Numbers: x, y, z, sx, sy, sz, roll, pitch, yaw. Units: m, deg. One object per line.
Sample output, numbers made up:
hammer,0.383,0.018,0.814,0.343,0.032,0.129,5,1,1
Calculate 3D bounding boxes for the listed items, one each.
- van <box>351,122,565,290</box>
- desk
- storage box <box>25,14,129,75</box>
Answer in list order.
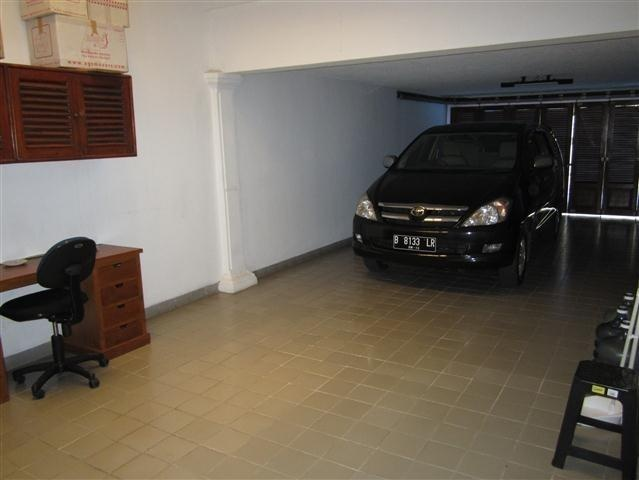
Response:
van,2.064,-0.686,5.654,1.645,1.296,3.084,3,11,29
desk,-2.039,0.720,3.445,0.385,0.774,1.074,7,12,24
storage box,-2.112,-1.709,3.696,0.400,0.339,0.731,5,20,18
